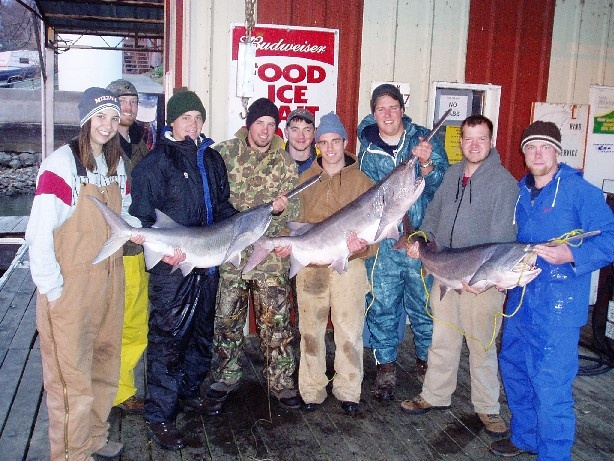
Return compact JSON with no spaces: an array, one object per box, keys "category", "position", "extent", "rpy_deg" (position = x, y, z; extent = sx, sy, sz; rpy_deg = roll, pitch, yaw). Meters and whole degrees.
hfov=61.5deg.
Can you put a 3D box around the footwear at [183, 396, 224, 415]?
[{"category":"footwear","position":[-0.965,1.628,4.789],"extent":[0.339,0.167,0.150],"rpy_deg":[-2,17,0]}]

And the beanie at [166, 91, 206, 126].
[{"category":"beanie","position":[-1.068,-1.046,4.518],"extent":[0.287,0.252,0.291],"rpy_deg":[-1,12,21]}]

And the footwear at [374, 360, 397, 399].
[{"category":"footwear","position":[0.799,1.418,5.279],"extent":[0.200,0.449,0.630],"rpy_deg":[3,14,8]}]

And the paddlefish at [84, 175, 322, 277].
[{"category":"paddlefish","position":[-0.941,-0.035,4.360],"extent":[1.347,0.583,0.373],"rpy_deg":[-15,-26,-14]}]

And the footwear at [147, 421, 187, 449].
[{"category":"footwear","position":[-1.204,1.738,4.408],"extent":[0.336,0.144,0.156],"rpy_deg":[18,21,28]}]

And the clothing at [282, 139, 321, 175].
[{"category":"clothing","position":[-0.013,-0.773,5.540],"extent":[0.333,0.450,0.210],"rpy_deg":[-1,-9,-7]}]

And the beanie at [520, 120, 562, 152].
[{"category":"beanie","position":[1.922,-0.761,4.211],"extent":[0.270,0.244,0.276],"rpy_deg":[5,-8,21]}]

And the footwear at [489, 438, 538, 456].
[{"category":"footwear","position":[1.753,1.856,4.468],"extent":[0.398,0.182,0.140],"rpy_deg":[-3,27,4]}]

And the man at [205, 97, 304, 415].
[{"category":"man","position":[-0.527,0.312,4.779],"extent":[1.021,2.911,1.005],"rpy_deg":[3,12,-1]}]

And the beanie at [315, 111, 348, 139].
[{"category":"beanie","position":[0.216,-0.940,4.589],"extent":[0.194,0.212,0.270],"rpy_deg":[-1,12,-1]}]

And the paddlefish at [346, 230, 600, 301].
[{"category":"paddlefish","position":[1.484,0.243,4.259],"extent":[0.446,0.601,1.762],"rpy_deg":[10,-13,-34]}]

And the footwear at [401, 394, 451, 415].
[{"category":"footwear","position":[1.117,1.642,4.955],"extent":[0.473,0.223,0.177],"rpy_deg":[1,15,1]}]

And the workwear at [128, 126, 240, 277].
[{"category":"workwear","position":[-1.113,-0.361,4.722],"extent":[1.401,1.303,0.669],"rpy_deg":[-12,12,-41]}]

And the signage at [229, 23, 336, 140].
[{"category":"signage","position":[-0.325,-1.654,5.628],"extent":[1.555,1.621,0.029],"rpy_deg":[-1,13,-14]}]

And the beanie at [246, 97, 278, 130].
[{"category":"beanie","position":[-0.419,-1.078,4.771],"extent":[0.250,0.253,0.263],"rpy_deg":[5,0,-18]}]

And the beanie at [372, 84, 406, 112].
[{"category":"beanie","position":[0.793,-1.332,5.121],"extent":[0.275,0.270,0.262],"rpy_deg":[-3,25,3]}]

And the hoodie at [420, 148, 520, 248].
[{"category":"hoodie","position":[1.440,-0.267,4.625],"extent":[0.443,0.824,0.722],"rpy_deg":[-4,20,-35]}]

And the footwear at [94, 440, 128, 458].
[{"category":"footwear","position":[-1.640,1.799,4.248],"extent":[0.208,0.087,0.110],"rpy_deg":[-1,34,-13]}]
